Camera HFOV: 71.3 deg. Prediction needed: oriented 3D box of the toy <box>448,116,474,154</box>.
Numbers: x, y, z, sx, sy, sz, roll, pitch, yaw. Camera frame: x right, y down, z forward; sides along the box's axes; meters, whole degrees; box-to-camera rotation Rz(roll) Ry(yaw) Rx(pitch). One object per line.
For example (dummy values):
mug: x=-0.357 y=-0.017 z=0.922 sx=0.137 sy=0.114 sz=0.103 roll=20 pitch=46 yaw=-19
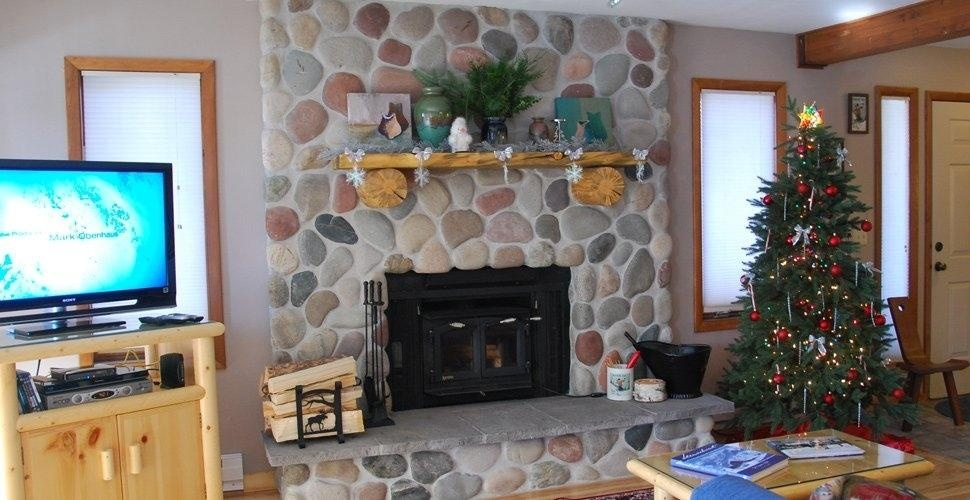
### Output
toy: x=-0.198 y=-0.914 z=5.377 sx=0.192 sy=0.284 sz=0.108 roll=-3 pitch=3 yaw=-13

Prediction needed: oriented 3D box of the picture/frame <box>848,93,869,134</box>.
picture/frame: x=3.617 y=-1.319 z=6.538 sx=0.252 sy=0.383 sz=0.043 roll=-3 pitch=3 yaw=-24

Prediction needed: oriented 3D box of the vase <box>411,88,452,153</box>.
vase: x=-0.404 y=-1.051 z=5.368 sx=0.301 sy=0.510 sz=0.149 roll=-2 pitch=3 yaw=-3

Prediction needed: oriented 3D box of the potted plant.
potted plant: x=0.005 y=-1.239 z=5.669 sx=1.120 sy=0.628 sz=0.836 roll=-2 pitch=12 yaw=12

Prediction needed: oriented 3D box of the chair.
chair: x=4.259 y=1.035 z=6.495 sx=0.604 sy=1.168 sz=0.500 roll=-1 pitch=3 yaw=32
